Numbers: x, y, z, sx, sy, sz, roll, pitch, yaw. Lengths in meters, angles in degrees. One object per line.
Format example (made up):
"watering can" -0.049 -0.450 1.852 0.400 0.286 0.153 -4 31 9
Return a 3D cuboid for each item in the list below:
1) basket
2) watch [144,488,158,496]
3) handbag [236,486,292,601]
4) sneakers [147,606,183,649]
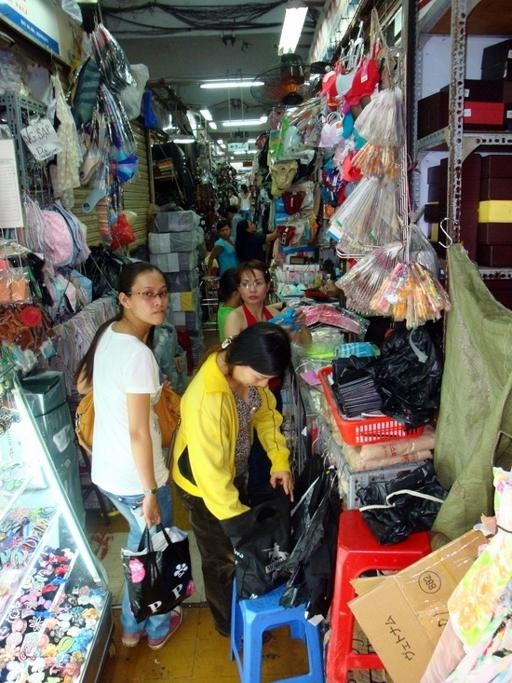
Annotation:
"basket" 0.310 0.201 1.491 0.171 0.071 0.241 0 25 -5
"watch" -0.376 0.525 1.662 0.030 0.013 0.032 -3 -2 28
"handbag" 0.023 0.655 1.521 0.181 0.277 0.215 -5 16 4
"sneakers" -0.402 1.239 2.027 0.056 0.064 0.166 5 26 9
